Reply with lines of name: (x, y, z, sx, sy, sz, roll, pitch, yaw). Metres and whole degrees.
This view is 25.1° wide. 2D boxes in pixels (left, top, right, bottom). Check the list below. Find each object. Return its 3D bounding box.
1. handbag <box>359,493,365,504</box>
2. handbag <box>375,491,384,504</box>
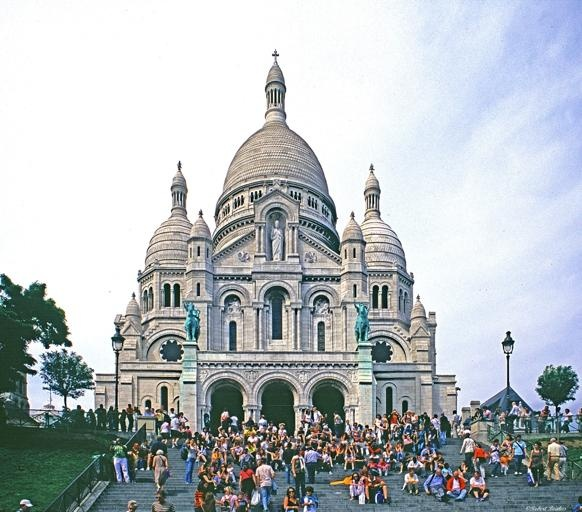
handbag: (3.133, 10.535, 57.018, 0.260, 0.512, 0.318, -2, -18, 2)
handbag: (3.893, 10.535, 57.069, 0.290, 0.462, 0.374, 13, -18, -30)
